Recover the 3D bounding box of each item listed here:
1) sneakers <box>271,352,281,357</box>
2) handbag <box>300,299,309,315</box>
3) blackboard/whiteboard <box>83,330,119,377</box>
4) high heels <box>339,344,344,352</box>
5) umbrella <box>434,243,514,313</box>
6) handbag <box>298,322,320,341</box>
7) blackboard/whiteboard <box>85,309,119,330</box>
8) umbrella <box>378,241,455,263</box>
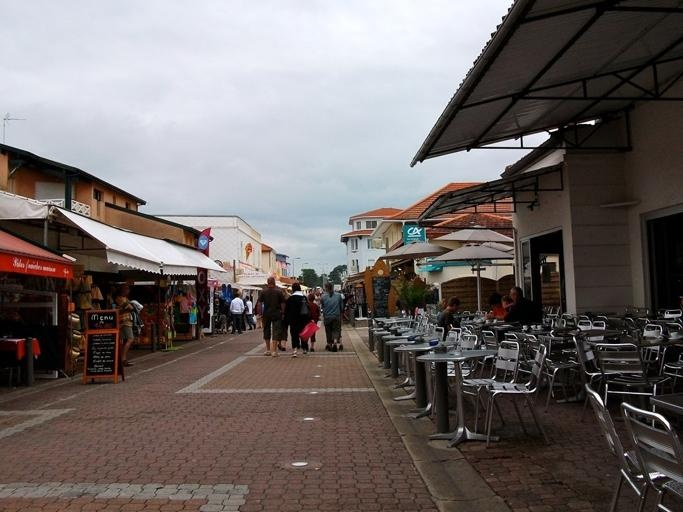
[{"bbox_3d":[-1.989,2.909,17.484,0.268,0.086,0.547,-1,-1,-4],"label":"sneakers"},{"bbox_3d":[-1.118,1.526,17.423,0.249,0.386,0.318,-1,-1,7],"label":"handbag"},{"bbox_3d":[-5.137,2.069,12.414,0.689,1.005,0.400,-1,-1,-15],"label":"blackboard/whiteboard"},{"bbox_3d":[-0.026,2.912,18.623,0.201,0.284,0.181,1,2,13],"label":"high heels"},{"bbox_3d":[4.227,0.712,17.971,2.679,2.425,2.624,-5,-3,-7],"label":"umbrella"},{"bbox_3d":[-1.010,2.205,17.378,0.528,0.449,0.821,-1,-1,-4],"label":"handbag"},{"bbox_3d":[-5.299,1.392,12.839,0.502,0.329,0.068,-2,-14,-6],"label":"blackboard/whiteboard"},{"bbox_3d":[3.190,-0.189,24.377,1.757,0.558,1.739,-7,-7,23],"label":"umbrella"}]
